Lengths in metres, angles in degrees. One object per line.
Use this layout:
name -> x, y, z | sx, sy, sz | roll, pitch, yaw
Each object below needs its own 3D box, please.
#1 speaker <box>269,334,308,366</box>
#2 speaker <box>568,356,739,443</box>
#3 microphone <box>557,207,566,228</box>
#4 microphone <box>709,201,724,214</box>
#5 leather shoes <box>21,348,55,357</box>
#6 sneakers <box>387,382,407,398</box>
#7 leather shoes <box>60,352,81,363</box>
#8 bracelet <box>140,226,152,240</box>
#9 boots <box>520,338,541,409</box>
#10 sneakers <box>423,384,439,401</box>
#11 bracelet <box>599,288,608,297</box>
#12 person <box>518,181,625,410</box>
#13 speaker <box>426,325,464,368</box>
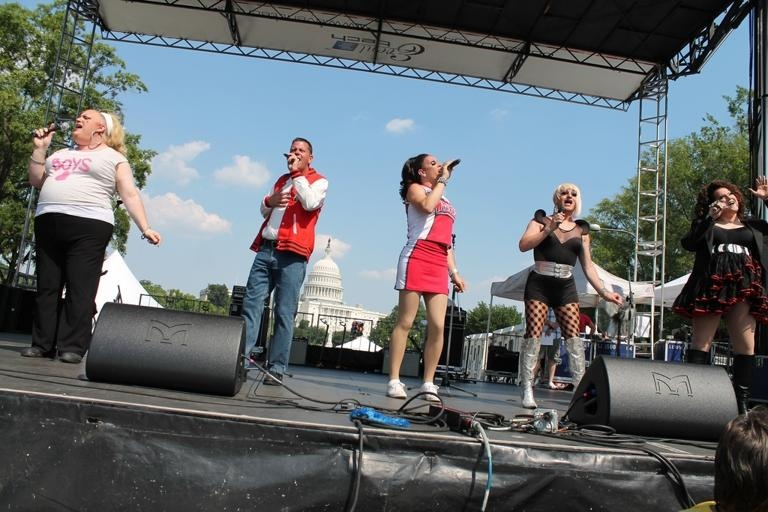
speaker -> -1.602, 1.617, 10.293 | 0.753, 0.754, 0.550 | 4, -12, -13
speaker -> 1.760, 0.891, 3.779 | 0.812, 0.402, 0.596 | 1, -14, -15
microphone -> 1.529, -0.358, 5.147 | 0.058, 0.145, 0.109 | 6, 2, 26
microphone -> 2.690, -0.412, 4.807 | 0.089, 0.090, 0.030 | 8, 5, 39
leather shoes -> -2.688, 0.733, 4.634 | 0.215, 0.092, 0.085 | 18, -9, -38
sneakers -> 0.103, 1.097, 4.977 | 0.091, 0.093, 0.211 | 5, -12, -22
leather shoes -> -2.385, 0.749, 4.521 | 0.158, 0.078, 0.105 | 9, -7, -27
bracelet -> -1.632, -0.172, 4.080 | 0.091, 0.111, 0.056 | -5, -19, 5
boots -> 1.276, 0.989, 5.224 | 0.160, 0.604, 0.323 | 4, -7, 15
sneakers -> 0.375, 1.074, 4.774 | 0.117, 0.138, 0.346 | 1, -14, -8
bracelet -> 1.949, 0.291, 5.251 | 0.039, 0.058, 0.141 | 26, -22, 19
person -> 1.611, 0.288, 5.113 | 0.885, 1.912, 0.691 | 4, -6, 9
speaker -> 1.200, 1.565, 10.541 | 0.595, 0.812, 0.598 | 9, -7, -24
